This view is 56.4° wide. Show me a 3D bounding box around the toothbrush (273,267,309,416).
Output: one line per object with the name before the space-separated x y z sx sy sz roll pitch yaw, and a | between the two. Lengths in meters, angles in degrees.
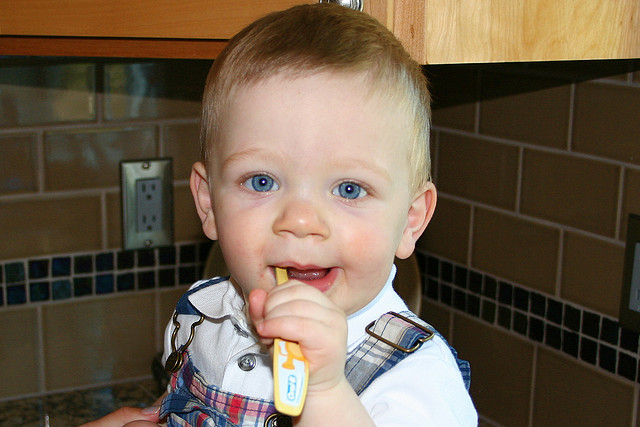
toothbrush | -0.050 0.191 0.916 0.055 0.020 0.300 20 24 -16

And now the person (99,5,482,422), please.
person | -0.015 -0.006 1.207 0.671 0.945 0.678 0 -3 -2

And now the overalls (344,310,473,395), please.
overalls | 0.124 0.250 1.067 0.192 0.072 0.156 -38 26 -19

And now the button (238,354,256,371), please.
button | -0.139 0.280 1.129 0.028 0.030 0.015 0 -9 5
